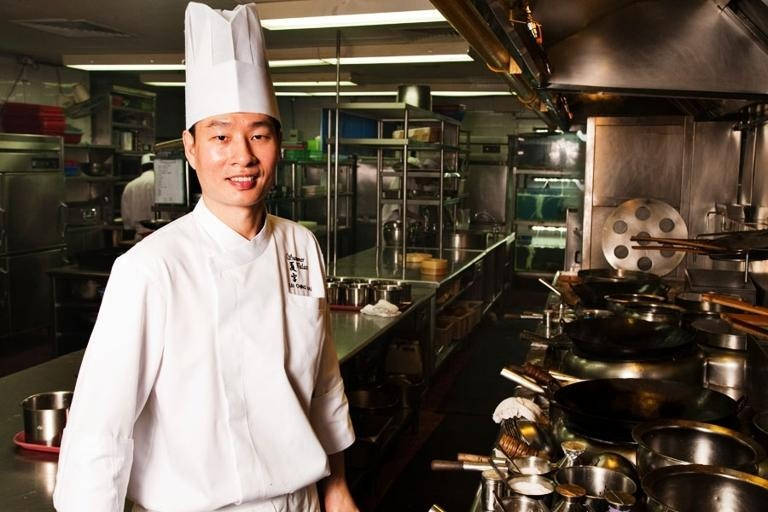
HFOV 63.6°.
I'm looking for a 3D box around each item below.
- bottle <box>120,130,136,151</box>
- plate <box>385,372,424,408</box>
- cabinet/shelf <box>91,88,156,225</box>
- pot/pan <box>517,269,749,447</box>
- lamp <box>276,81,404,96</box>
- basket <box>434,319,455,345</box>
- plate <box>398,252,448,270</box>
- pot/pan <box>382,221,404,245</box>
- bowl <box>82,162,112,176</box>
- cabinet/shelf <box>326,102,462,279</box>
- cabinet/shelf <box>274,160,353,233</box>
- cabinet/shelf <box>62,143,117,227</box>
[{"bbox_3d":[-3.854,-1.755,9.360,0.291,0.301,0.279,-2,9,-17],"label":"bottle"},{"bbox_3d":[0.122,0.924,4.292,0.224,0.221,0.221,4,10,27],"label":"plate"},{"bbox_3d":[-3.814,-1.854,9.565,0.732,1.506,0.362,11,0,20],"label":"cabinet/shelf"},{"bbox_3d":[0.876,0.351,2.240,0.421,0.265,0.715,3,6,10],"label":"pot/pan"},{"bbox_3d":[-0.519,-2.044,7.518,1.518,0.060,0.209,-5,5,-40],"label":"lamp"},{"bbox_3d":[0.565,0.701,5.733,0.182,0.147,0.240,0,-1,16],"label":"basket"},{"bbox_3d":[0.333,0.039,5.419,0.346,0.149,0.546,0,10,-2],"label":"plate"},{"bbox_3d":[0.081,-0.239,6.292,0.244,0.251,0.233,-1,3,-16],"label":"pot/pan"},{"bbox_3d":[-4.102,-1.240,8.858,0.225,0.131,0.303,5,4,21],"label":"bowl"},{"bbox_3d":[0.109,-0.667,6.402,0.788,1.996,2.362,3,4,17],"label":"cabinet/shelf"},{"bbox_3d":[-0.834,-0.742,7.580,1.250,1.079,0.400,8,19,17],"label":"cabinet/shelf"},{"bbox_3d":[-4.100,-0.997,8.604,0.478,1.240,1.396,-2,0,-6],"label":"cabinet/shelf"}]
